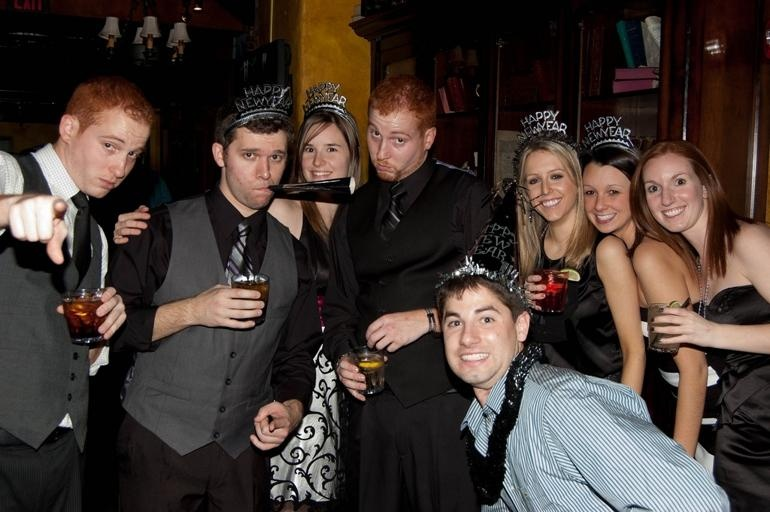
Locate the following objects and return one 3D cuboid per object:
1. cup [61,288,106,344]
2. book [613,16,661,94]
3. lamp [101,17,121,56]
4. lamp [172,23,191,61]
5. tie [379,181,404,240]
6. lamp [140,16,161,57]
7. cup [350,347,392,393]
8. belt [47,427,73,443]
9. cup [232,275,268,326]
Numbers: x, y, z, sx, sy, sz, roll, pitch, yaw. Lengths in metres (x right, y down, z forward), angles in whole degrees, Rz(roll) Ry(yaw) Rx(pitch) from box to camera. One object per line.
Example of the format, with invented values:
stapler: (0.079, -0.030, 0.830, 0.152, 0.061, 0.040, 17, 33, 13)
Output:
cup: (-1.372, 0.283, 2.726, 0.197, 0.230, 0.207, -6, -8, -1)
book: (1.794, -1.423, 4.212, 0.115, 0.451, 0.433, -8, 8, -30)
lamp: (-3.880, -3.199, 8.502, 0.251, 0.392, 0.227, 7, 26, -16)
lamp: (-2.913, -3.108, 8.565, 0.242, 0.429, 0.264, -4, 10, -22)
tie: (0.054, -0.270, 3.289, 0.145, 0.429, 0.061, -12, 49, -8)
lamp: (-3.236, -3.093, 8.277, 0.246, 0.435, 0.257, 24, 25, 31)
cup: (-0.062, 0.583, 3.151, 0.156, 0.243, 0.250, -1, 6, 13)
belt: (-1.520, 0.835, 2.797, 0.067, 0.018, 0.073, -24, 2, 10)
cup: (-0.607, 0.218, 2.872, 0.218, 0.252, 0.207, 3, 14, -1)
